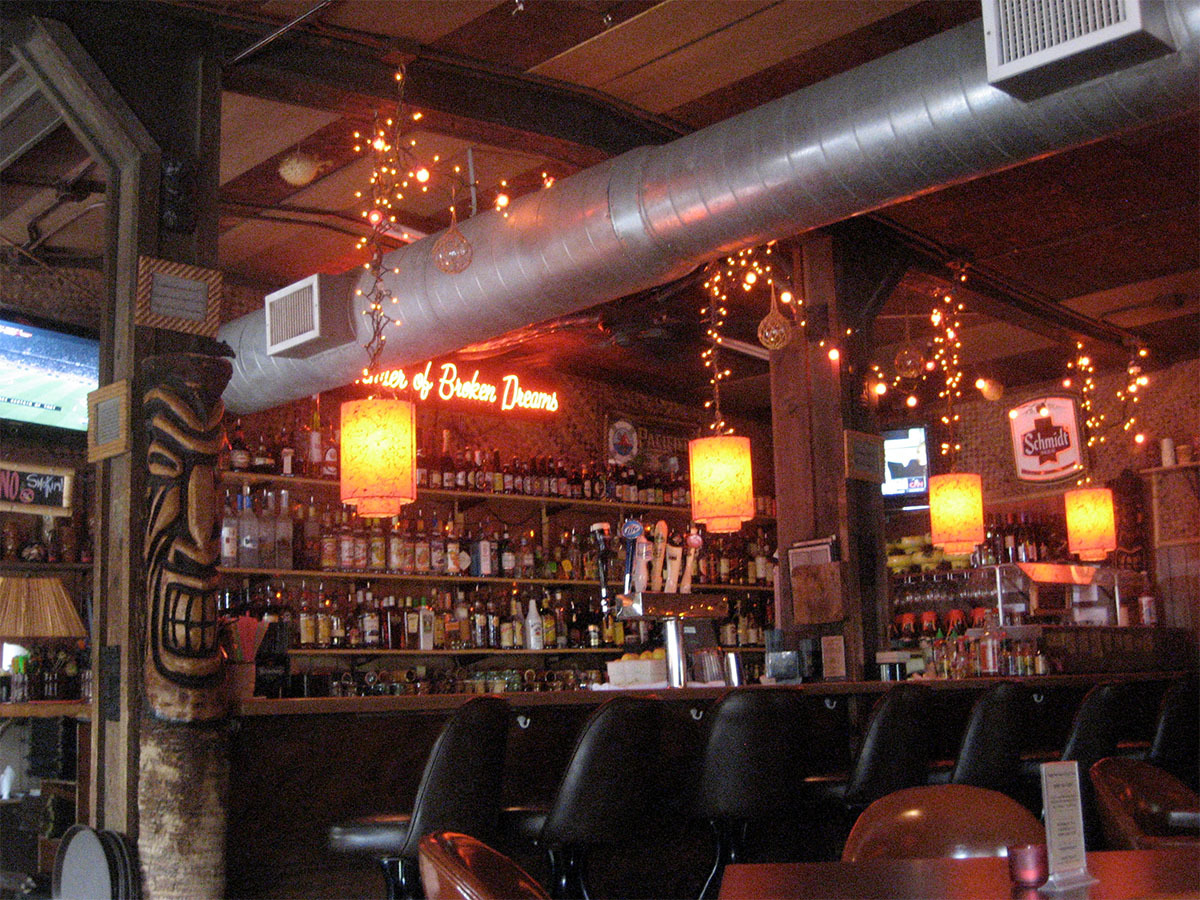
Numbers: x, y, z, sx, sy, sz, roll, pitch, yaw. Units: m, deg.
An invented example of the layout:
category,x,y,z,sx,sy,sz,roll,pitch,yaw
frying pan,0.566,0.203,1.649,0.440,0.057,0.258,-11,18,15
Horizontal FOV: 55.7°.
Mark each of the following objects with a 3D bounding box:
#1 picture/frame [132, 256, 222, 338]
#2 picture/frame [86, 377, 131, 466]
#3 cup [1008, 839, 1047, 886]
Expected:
category,x,y,z,sx,sy,sz,roll,pitch,yaw
picture/frame,-1.850,-0.655,4.949,0.329,0.307,0.049,17,-18,-41
picture/frame,-2.108,-0.113,4.913,0.044,0.374,0.367,8,-19,-37
cup,0.842,0.805,2.226,0.073,0.073,0.072,3,-10,1
